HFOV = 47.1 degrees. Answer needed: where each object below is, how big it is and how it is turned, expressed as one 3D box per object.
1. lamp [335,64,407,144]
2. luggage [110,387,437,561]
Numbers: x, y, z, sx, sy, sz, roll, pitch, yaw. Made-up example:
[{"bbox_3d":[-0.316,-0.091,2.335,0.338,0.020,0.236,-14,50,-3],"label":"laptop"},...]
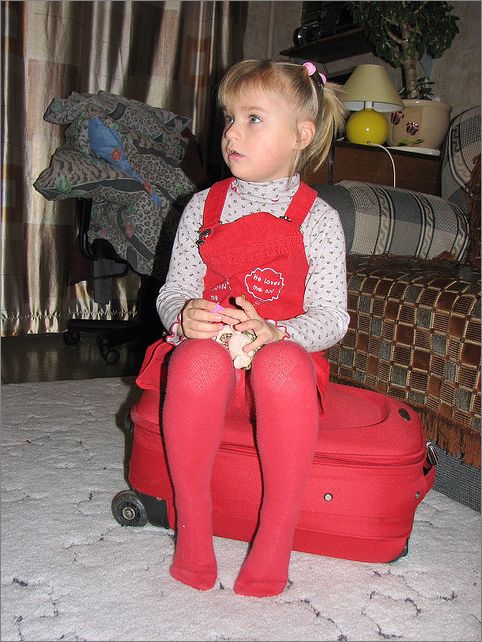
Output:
[{"bbox_3d":[0.437,-0.725,1.893,0.209,0.266,0.202,4,9,10],"label":"lamp"},{"bbox_3d":[0.057,0.215,0.791,0.367,0.132,0.244,5,22,4],"label":"luggage"}]
